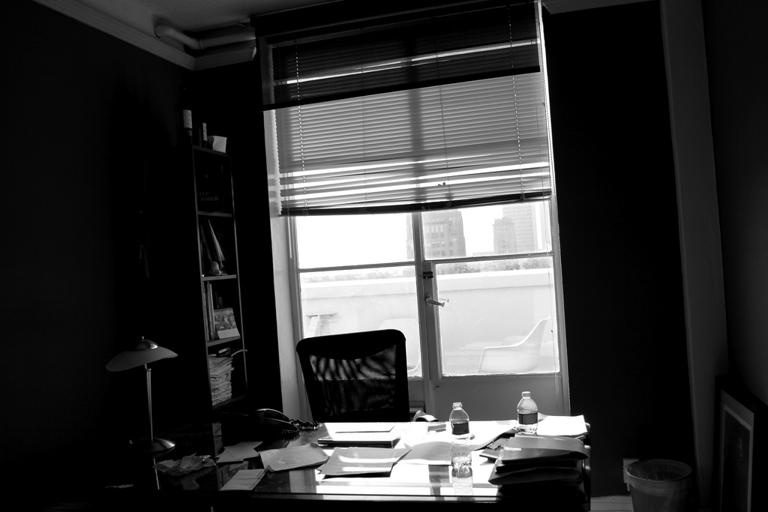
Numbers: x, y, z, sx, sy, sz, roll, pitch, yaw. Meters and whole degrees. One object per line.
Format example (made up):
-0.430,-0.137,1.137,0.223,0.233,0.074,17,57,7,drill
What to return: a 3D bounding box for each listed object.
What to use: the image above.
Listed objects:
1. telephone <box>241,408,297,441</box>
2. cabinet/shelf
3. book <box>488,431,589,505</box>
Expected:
-0.675,1.028,4.125,0.245,0.080,0.177,8,0,-14,telephone
-1.127,0.245,4.964,0.494,1.981,0.278,2,15,22,cabinet/shelf
0.805,1.080,3.440,0.352,0.110,0.340,-1,15,10,book
